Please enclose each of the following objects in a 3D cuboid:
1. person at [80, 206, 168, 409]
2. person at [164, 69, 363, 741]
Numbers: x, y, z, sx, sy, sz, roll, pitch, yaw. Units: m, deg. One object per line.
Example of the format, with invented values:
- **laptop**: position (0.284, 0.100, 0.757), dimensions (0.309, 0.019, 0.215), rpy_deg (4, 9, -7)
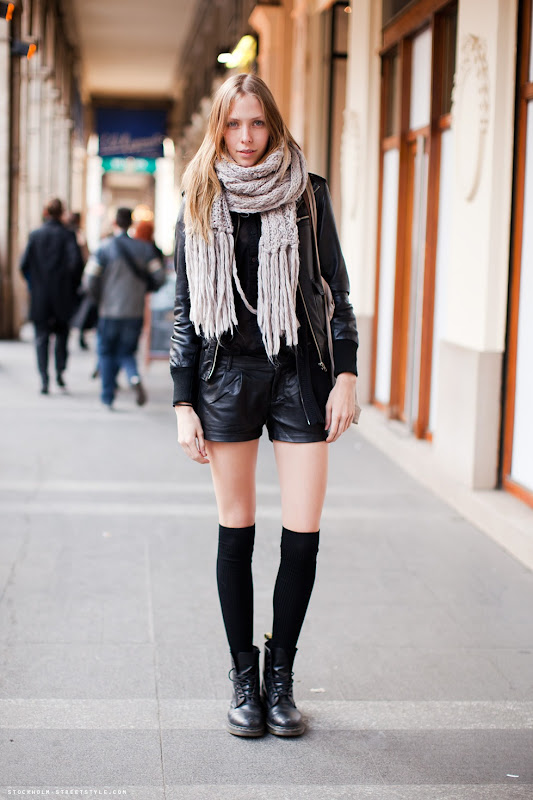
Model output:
- **person**: position (-1.080, -0.771, 6.082), dimensions (0.522, 1.381, 0.880), rpy_deg (3, 6, -5)
- **person**: position (-0.002, 0.018, 1.576), dimensions (0.386, 1.253, 0.275), rpy_deg (3, 5, -8)
